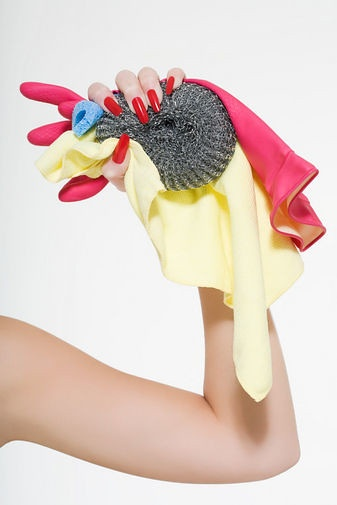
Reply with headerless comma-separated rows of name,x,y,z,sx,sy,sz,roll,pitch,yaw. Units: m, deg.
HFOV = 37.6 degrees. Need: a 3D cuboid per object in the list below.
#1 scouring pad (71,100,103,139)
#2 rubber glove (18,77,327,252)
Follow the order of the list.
scouring pad,-0.104,-0.170,0.622,0.041,0.044,0.018,13,-9,29
rubber glove,0.040,-0.122,0.566,0.393,0.116,0.187,5,14,-28
